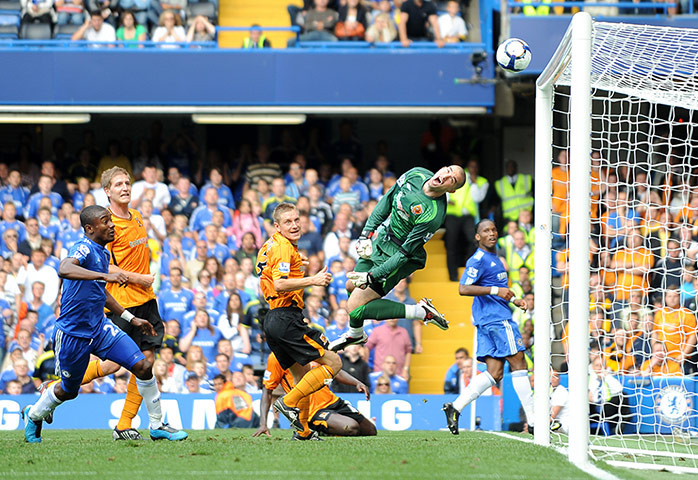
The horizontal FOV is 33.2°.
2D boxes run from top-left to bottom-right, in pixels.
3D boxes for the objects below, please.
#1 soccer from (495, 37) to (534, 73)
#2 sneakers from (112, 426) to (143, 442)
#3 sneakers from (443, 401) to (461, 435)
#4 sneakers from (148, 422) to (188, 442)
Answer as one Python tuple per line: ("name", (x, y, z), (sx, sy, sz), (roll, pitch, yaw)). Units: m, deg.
("soccer", (2.261, -2.486, 16.127), (0.468, 0.515, 0.266), (2, -8, 9))
("sneakers", (-2.808, 2.491, 14.878), (0.366, 0.167, 0.141), (8, -39, 13))
("sneakers", (1.351, 2.358, 15.538), (0.198, 0.423, 0.292), (0, -2, 6))
("sneakers", (-2.287, 2.425, 14.776), (0.459, 0.231, 0.189), (0, -6, 1))
